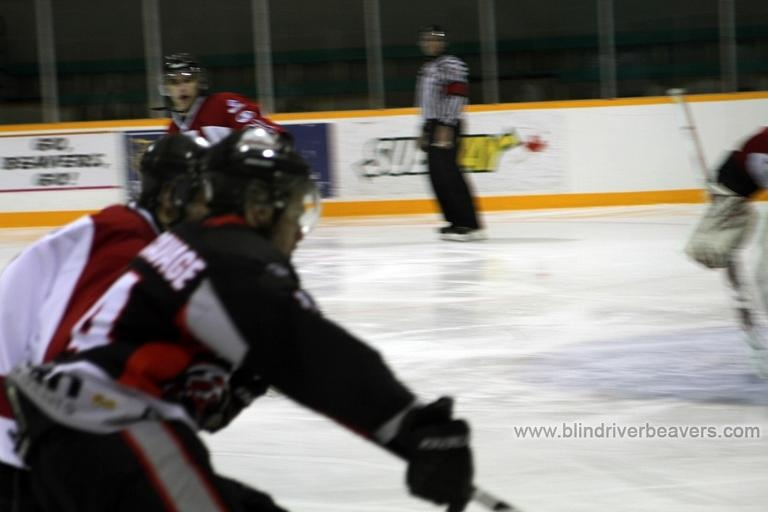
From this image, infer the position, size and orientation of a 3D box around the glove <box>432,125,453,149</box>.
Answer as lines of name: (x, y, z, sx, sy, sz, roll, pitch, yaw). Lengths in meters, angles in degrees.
glove: (0.438, -0.890, 6.285, 0.240, 0.115, 0.169, -1, -3, 4)

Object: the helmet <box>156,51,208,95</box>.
helmet: (-0.984, -0.919, 4.249, 0.273, 0.189, 0.258, -1, 24, 5)
